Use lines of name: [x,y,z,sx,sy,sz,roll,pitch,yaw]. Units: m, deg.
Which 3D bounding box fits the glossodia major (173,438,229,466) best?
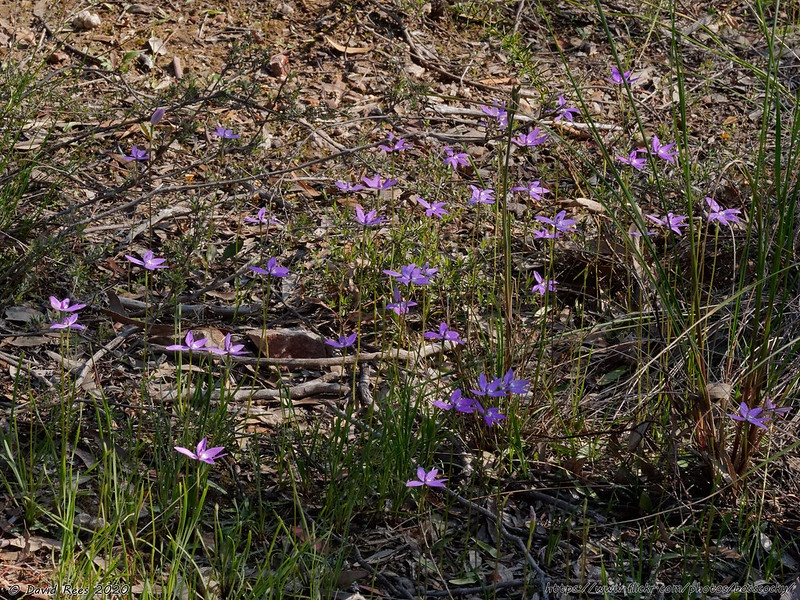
glossodia major: [-0.635,0.474,2.389,0.095,0.053,0.097,-15,31,-38]
